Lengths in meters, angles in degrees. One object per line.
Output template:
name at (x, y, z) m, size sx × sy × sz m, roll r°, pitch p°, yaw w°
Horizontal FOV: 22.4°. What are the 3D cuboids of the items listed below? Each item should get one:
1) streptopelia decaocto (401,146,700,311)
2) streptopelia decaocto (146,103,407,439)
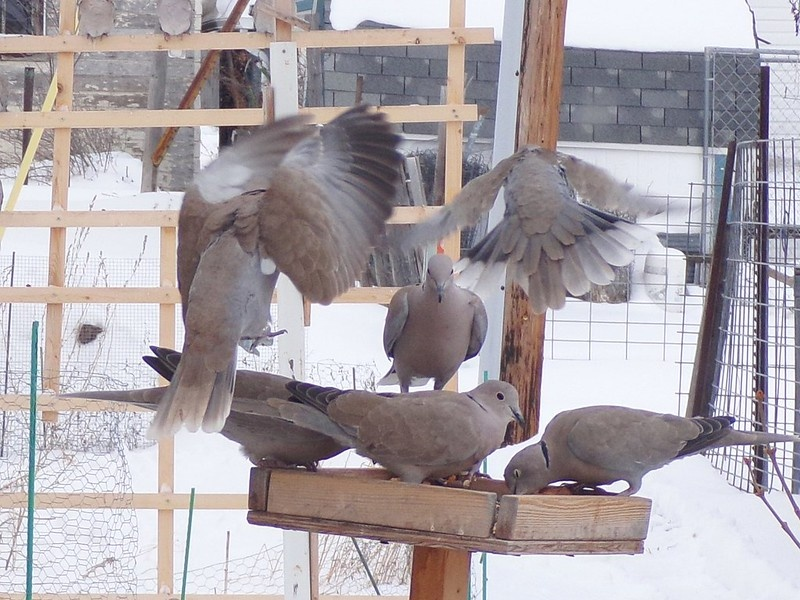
streptopelia decaocto at (1.175, -0.520, 15.447) m, size 1.551 × 0.660 × 1.430 m, roll -8°, pitch 22°, yaw 7°
streptopelia decaocto at (-1.139, -0.294, 15.243) m, size 1.661 × 1.320 × 2.891 m, roll -8°, pitch 20°, yaw 21°
